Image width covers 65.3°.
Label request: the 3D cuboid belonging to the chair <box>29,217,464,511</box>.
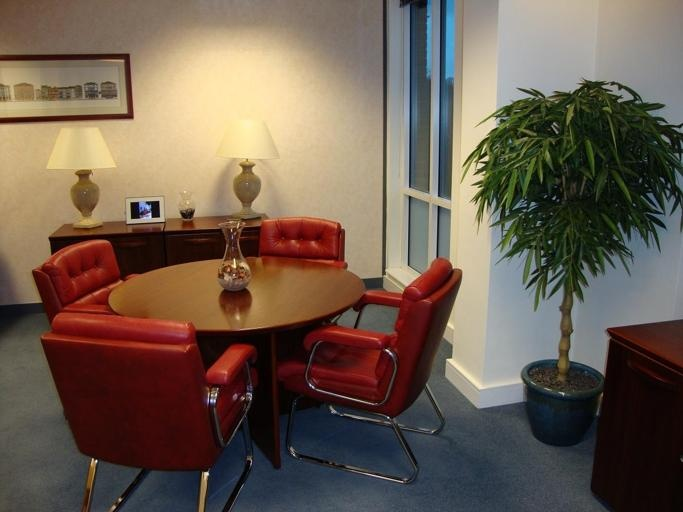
[{"bbox_3d":[-0.331,0.655,3.095,2.046,1.290,1.075,-11,19,-20],"label":"chair"}]
